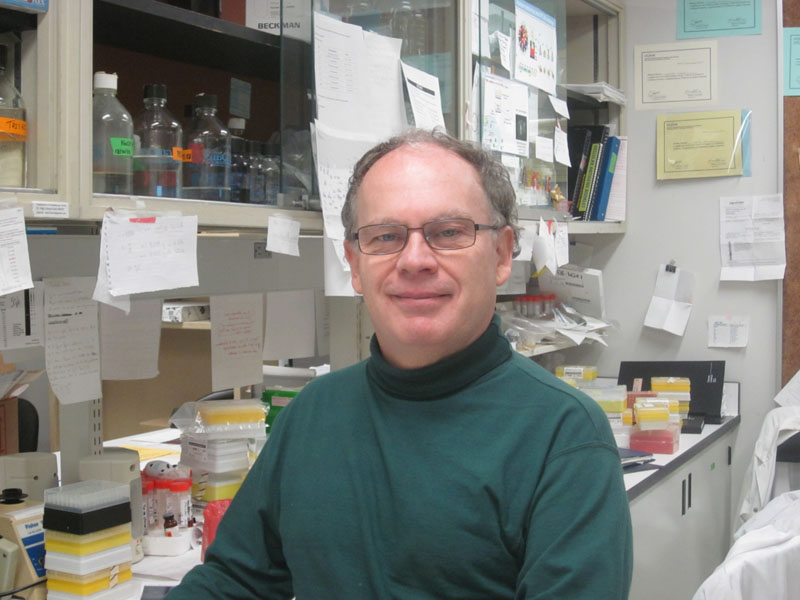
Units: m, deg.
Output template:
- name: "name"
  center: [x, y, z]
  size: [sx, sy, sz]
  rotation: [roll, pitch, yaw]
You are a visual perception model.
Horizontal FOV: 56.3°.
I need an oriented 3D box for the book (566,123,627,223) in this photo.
- name: "book"
  center: [0.770, -0.521, 3.013]
  size: [0.079, 0.354, 0.335]
  rotation: [7, 7, 30]
